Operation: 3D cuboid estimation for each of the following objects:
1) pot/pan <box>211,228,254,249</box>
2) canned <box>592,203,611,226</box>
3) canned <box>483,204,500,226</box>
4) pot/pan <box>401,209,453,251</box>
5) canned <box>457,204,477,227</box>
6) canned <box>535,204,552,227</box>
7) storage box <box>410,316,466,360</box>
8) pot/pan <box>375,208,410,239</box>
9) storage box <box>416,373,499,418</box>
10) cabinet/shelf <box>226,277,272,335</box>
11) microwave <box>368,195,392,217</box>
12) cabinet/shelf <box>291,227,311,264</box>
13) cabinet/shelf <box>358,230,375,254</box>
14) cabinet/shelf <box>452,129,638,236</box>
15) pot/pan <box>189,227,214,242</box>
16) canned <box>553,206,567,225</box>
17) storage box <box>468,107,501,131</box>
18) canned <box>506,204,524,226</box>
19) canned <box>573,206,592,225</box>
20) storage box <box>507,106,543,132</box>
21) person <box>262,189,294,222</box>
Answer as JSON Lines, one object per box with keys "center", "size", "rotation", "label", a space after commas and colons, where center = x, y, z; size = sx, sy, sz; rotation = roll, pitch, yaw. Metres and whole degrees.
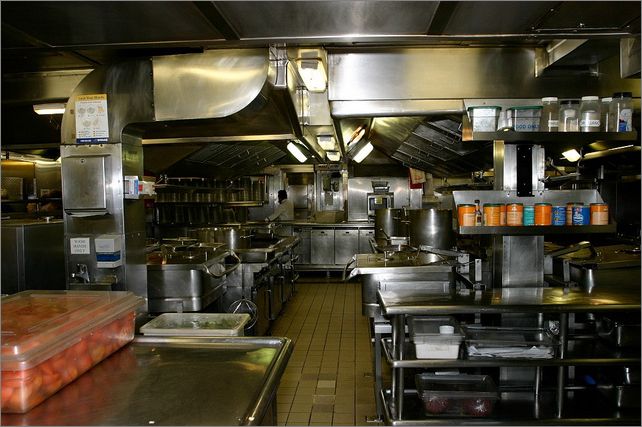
{"center": [-1.107, 0.300, 6.621], "size": [0.297, 0.260, 0.420], "rotation": [2, 2, 17], "label": "pot/pan"}
{"center": [2.317, 0.006, 4.411], "size": [0.146, 0.194, 0.083], "rotation": [-1, 0, 16], "label": "canned"}
{"center": [1.426, 0.018, 4.525], "size": [0.194, 0.172, 0.175], "rotation": [1, -2, 0], "label": "canned"}
{"center": [1.445, 0.220, 7.307], "size": [0.669, 0.599, 0.604], "rotation": [0, -1, 8], "label": "pot/pan"}
{"center": [1.218, 0.013, 4.417], "size": [0.199, 0.171, 0.177], "rotation": [2, -2, -4], "label": "canned"}
{"center": [1.851, 0.010, 4.420], "size": [0.141, 0.188, 0.057], "rotation": [-1, 0, 15], "label": "canned"}
{"center": [0.920, 0.999, 4.276], "size": [0.419, 0.304, 0.445], "rotation": [-1, 0, 8], "label": "storage box"}
{"center": [1.177, 0.164, 8.927], "size": [0.592, 0.500, 0.501], "rotation": [1, -1, 11], "label": "pot/pan"}
{"center": [1.062, 1.430, 4.171], "size": [0.432, 0.114, 0.341], "rotation": [0, 0, -1], "label": "storage box"}
{"center": [-0.749, 1.064, 6.156], "size": [0.646, 0.730, 0.850], "rotation": [0, 0, 1], "label": "cabinet/shelf"}
{"center": [1.177, -0.169, 10.692], "size": [0.548, 0.406, 0.268], "rotation": [1, 5, 10], "label": "microwave"}
{"center": [-0.344, 0.601, 9.760], "size": [0.304, 0.639, 0.170], "rotation": [-1, 0, -9], "label": "cabinet/shelf"}
{"center": [0.850, 0.501, 9.674], "size": [0.229, 0.420, 0.300], "rotation": [-1, 0, -21], "label": "cabinet/shelf"}
{"center": [1.874, -0.216, 4.712], "size": [1.910, 1.075, 0.872], "rotation": [0, -3, 6], "label": "cabinet/shelf"}
{"center": [-1.605, 0.282, 7.150], "size": [0.357, 0.209, 0.274], "rotation": [2, 1, 15], "label": "pot/pan"}
{"center": [1.988, 0.017, 4.416], "size": [0.111, 0.169, 0.045], "rotation": [-1, 0, -10], "label": "canned"}
{"center": [1.350, -0.788, 4.398], "size": [0.295, 0.156, 0.210], "rotation": [0, 1, 3], "label": "storage box"}
{"center": [1.601, 0.014, 4.529], "size": [0.194, 0.175, 0.172], "rotation": [2, -1, 6], "label": "canned"}
{"center": [2.132, 0.020, 4.381], "size": [0.173, 0.152, 0.158], "rotation": [1, -1, 14], "label": "canned"}
{"center": [1.681, -0.784, 4.379], "size": [0.217, 0.162, 0.254], "rotation": [1, 1, 32], "label": "storage box"}
{"center": [-0.804, -0.124, 10.688], "size": [0.566, 0.643, 0.591], "rotation": [6, 17, 14], "label": "person"}
